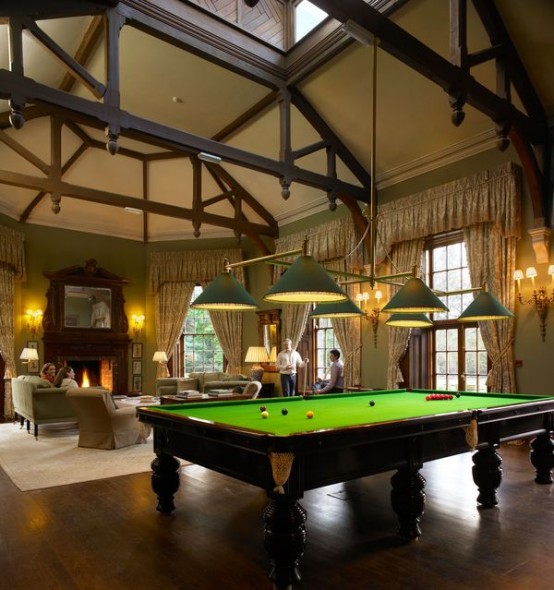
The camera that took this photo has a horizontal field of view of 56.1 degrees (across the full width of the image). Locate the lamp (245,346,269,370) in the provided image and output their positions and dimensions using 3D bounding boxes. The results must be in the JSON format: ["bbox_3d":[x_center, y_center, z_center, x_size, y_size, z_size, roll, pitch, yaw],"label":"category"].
[{"bbox_3d":[-0.415,1.298,10.980,0.522,0.490,0.502,-1,-2,33],"label":"lamp"}]

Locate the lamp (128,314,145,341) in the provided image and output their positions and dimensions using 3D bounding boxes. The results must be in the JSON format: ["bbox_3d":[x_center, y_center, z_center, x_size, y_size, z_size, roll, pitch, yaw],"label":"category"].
[{"bbox_3d":[-3.404,0.762,12.669,0.383,0.650,0.115,5,-8,-41],"label":"lamp"}]

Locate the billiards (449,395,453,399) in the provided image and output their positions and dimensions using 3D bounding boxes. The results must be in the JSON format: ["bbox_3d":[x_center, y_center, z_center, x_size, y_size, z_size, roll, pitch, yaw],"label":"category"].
[{"bbox_3d":[1.741,1.023,5.233,0.042,0.042,0.051,-2,-2,16],"label":"billiards"}]

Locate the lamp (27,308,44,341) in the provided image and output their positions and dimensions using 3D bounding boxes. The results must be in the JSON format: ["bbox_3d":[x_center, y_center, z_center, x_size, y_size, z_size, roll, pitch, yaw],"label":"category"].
[{"bbox_3d":[-5.231,0.631,11.207,0.137,0.662,0.347,-5,-7,38],"label":"lamp"}]

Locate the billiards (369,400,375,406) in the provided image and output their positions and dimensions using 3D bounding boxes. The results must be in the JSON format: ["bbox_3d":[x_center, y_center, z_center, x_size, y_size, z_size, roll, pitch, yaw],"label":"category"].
[{"bbox_3d":[0.792,0.904,4.357,0.046,0.036,0.044,1,-6,5],"label":"billiards"}]

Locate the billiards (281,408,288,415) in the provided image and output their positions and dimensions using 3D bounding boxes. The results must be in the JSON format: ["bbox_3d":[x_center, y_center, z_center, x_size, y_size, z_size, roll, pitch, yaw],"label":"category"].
[{"bbox_3d":[0.050,0.858,3.822,0.043,0.037,0.040,2,-9,4],"label":"billiards"}]

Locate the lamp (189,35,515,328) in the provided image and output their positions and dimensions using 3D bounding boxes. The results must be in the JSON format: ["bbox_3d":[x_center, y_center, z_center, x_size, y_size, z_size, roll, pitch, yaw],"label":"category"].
[{"bbox_3d":[0.394,-0.699,4.398,1.572,1.575,1.578,11,-11,-42],"label":"lamp"}]

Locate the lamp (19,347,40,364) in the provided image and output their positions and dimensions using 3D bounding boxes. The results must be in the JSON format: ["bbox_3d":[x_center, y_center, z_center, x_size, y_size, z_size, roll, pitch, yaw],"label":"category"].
[{"bbox_3d":[-5.100,1.196,10.594,0.387,0.352,0.378,3,-6,-4],"label":"lamp"}]

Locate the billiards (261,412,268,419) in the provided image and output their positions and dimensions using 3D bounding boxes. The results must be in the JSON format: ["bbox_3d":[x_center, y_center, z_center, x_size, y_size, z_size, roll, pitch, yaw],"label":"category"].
[{"bbox_3d":[-0.084,0.835,3.612,0.044,0.042,0.042,13,-17,-30],"label":"billiards"}]
